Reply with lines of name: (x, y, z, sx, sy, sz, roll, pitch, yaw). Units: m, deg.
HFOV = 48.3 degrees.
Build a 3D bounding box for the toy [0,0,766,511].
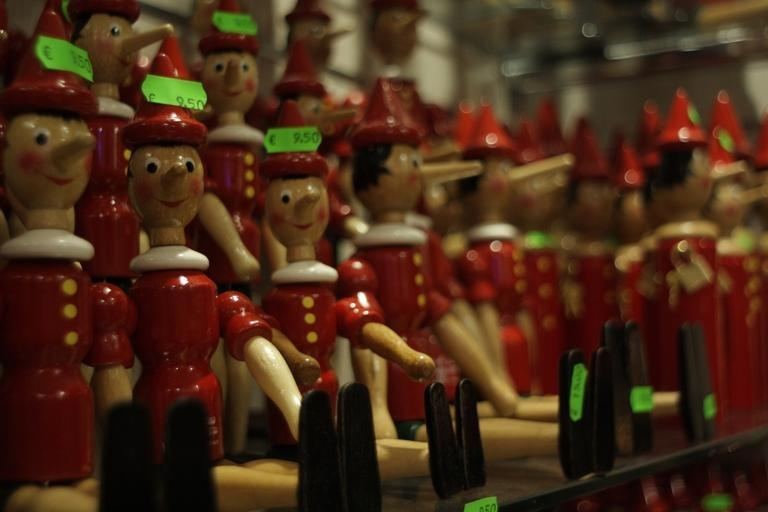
toy: (-0.015, 0.066, 1.381, 0.766, 0.874, 0.790, 1, -1, 36)
